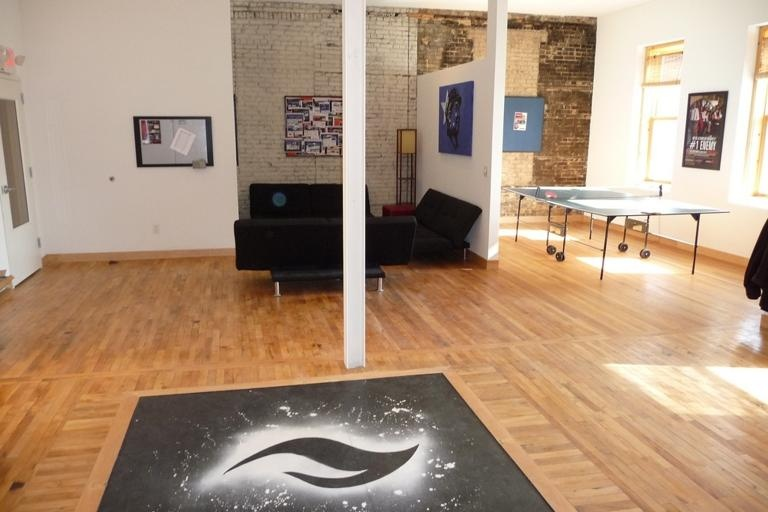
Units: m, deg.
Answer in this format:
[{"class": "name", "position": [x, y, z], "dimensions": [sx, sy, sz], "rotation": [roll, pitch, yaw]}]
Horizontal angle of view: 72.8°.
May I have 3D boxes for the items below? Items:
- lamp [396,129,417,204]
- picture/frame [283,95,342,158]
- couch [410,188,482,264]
[{"class": "lamp", "position": [0.488, -1.944, 11.444], "dimensions": [0.461, 1.660, 0.570], "rotation": [0, 16, 3]}, {"class": "picture/frame", "position": [-1.560, -2.797, 11.015], "dimensions": [1.402, 1.255, 0.147], "rotation": [0, 8, -11]}, {"class": "couch", "position": [1.074, -0.549, 9.510], "dimensions": [1.118, 1.061, 1.571], "rotation": [-2, 15, -3]}]
